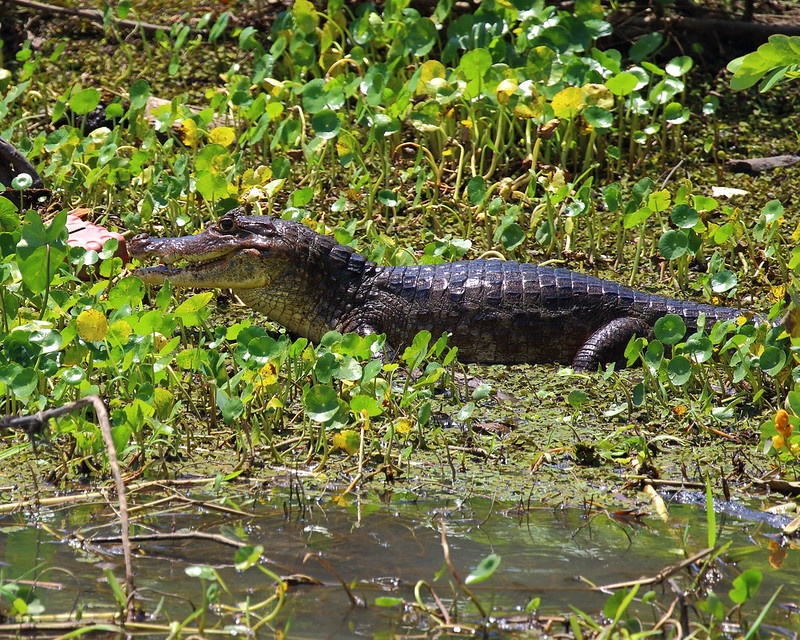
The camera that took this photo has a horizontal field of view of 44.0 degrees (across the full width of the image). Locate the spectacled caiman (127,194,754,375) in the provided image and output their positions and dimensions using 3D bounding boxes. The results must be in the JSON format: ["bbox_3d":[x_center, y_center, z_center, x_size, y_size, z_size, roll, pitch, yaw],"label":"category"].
[{"bbox_3d":[0.105,-0.078,5.706,3.689,0.809,1.176,2,-8,5],"label":"spectacled caiman"}]
